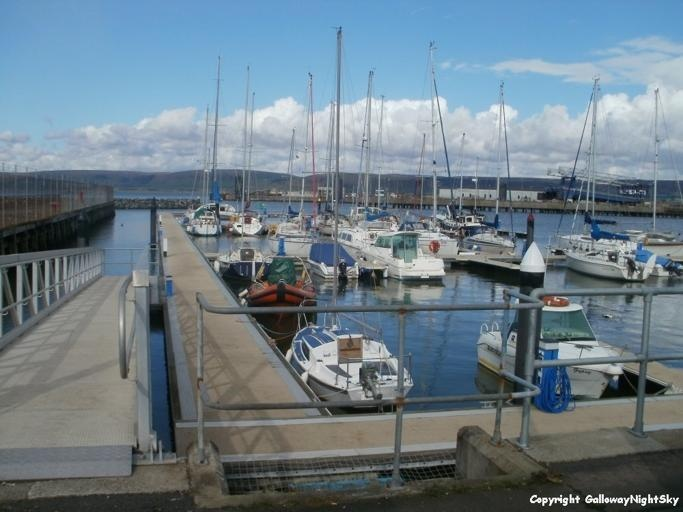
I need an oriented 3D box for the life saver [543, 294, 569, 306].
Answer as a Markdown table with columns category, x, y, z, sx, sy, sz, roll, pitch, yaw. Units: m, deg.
| category | x | y | z | sx | sy | sz | roll | pitch | yaw |
| --- | --- | --- | --- | --- | --- | --- | --- | --- | --- |
| life saver | 4.309 | 0.886 | 12.923 | 0.466 | 0.181 | 0.958 | 2 | 4 | 19 |
